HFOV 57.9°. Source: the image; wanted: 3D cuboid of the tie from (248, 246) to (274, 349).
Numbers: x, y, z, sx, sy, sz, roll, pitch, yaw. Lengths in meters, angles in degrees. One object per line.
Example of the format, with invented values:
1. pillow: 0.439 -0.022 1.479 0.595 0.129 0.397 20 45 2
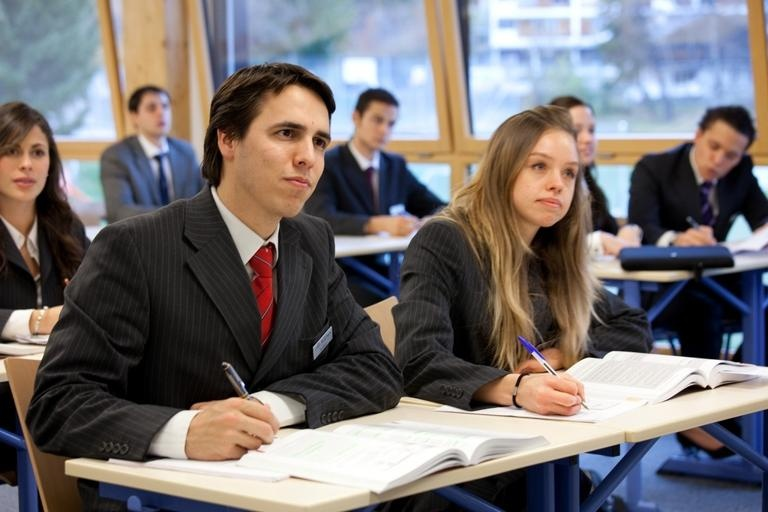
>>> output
1. tie: -0.320 0.113 1.897 0.066 0.269 0.073 7 -8 -32

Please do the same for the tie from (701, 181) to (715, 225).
1. tie: 1.994 -0.338 4.265 0.073 0.259 0.278 -1 -2 24

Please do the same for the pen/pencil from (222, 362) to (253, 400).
1. pen/pencil: -0.382 0.321 1.792 0.027 0.135 0.024 -14 30 43

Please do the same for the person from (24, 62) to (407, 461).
1. person: -0.478 -0.012 1.774 0.882 0.960 0.486 -7 6 -23

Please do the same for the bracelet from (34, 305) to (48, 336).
1. bracelet: -1.338 0.259 2.731 0.019 0.075 0.070 10 0 -6

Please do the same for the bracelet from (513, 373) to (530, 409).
1. bracelet: 0.405 0.392 2.038 0.047 0.087 0.084 -2 6 30
